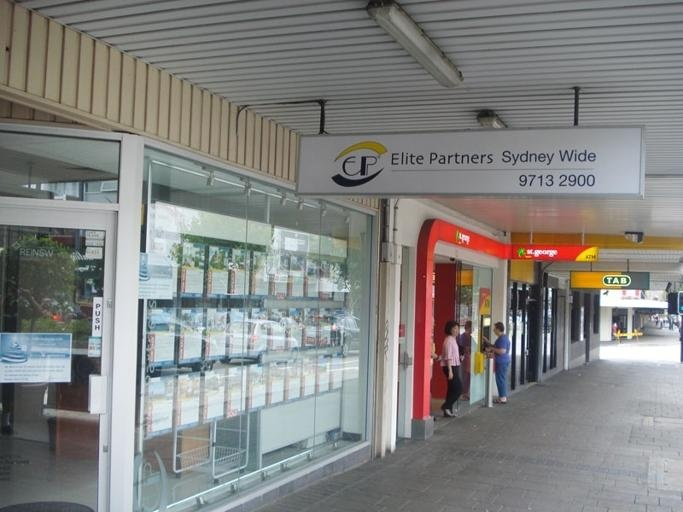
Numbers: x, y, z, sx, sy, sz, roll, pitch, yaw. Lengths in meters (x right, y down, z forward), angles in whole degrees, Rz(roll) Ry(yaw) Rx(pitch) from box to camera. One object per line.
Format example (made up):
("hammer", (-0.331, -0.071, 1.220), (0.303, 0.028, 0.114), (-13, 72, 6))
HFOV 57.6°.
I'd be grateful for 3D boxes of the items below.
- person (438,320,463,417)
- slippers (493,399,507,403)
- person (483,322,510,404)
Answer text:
("person", (2.219, 2.301, 12.465), (0.399, 1.927, 0.732), (-1, -4, 4))
("slippers", (3.790, 3.452, 14.833), (0.244, 0.108, 0.123), (2, -1, 25))
("person", (3.738, 2.555, 14.860), (0.570, 1.919, 1.124), (-1, -4, 13))
